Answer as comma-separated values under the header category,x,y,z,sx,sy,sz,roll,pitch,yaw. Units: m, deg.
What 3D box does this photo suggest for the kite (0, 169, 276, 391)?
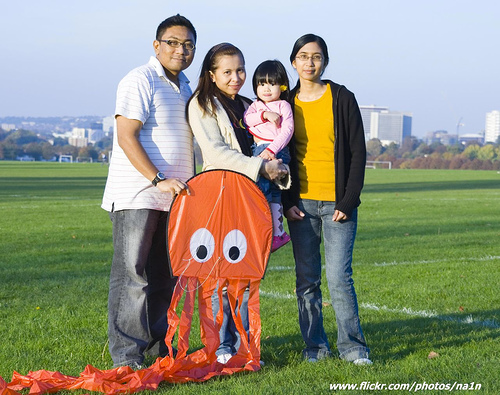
category,x,y,z,sx,sy,sz,roll,pitch,yaw
kite,-1.268,0.941,10.828,2.420,2.389,2.528,2,-4,-21

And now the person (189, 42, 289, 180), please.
category,x,y,z,sx,sy,sz,roll,pitch,yaw
person,-0.117,-0.758,10.426,1.129,1.946,0.904,7,21,30
